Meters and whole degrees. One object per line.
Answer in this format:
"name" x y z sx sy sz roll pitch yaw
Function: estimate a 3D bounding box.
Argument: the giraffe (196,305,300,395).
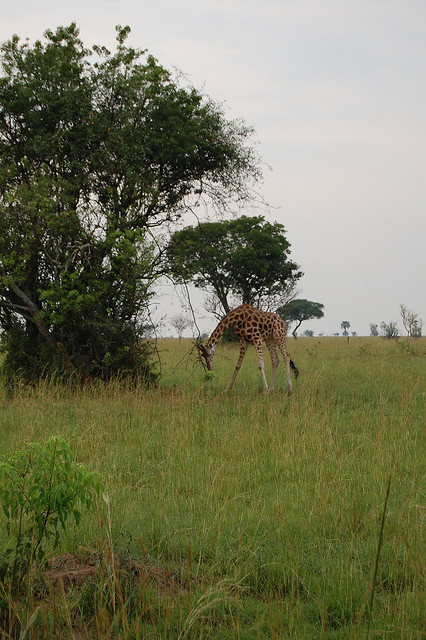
"giraffe" 0.987 0.776 17.122 2.743 2.313 0.784 -2 10 -19
